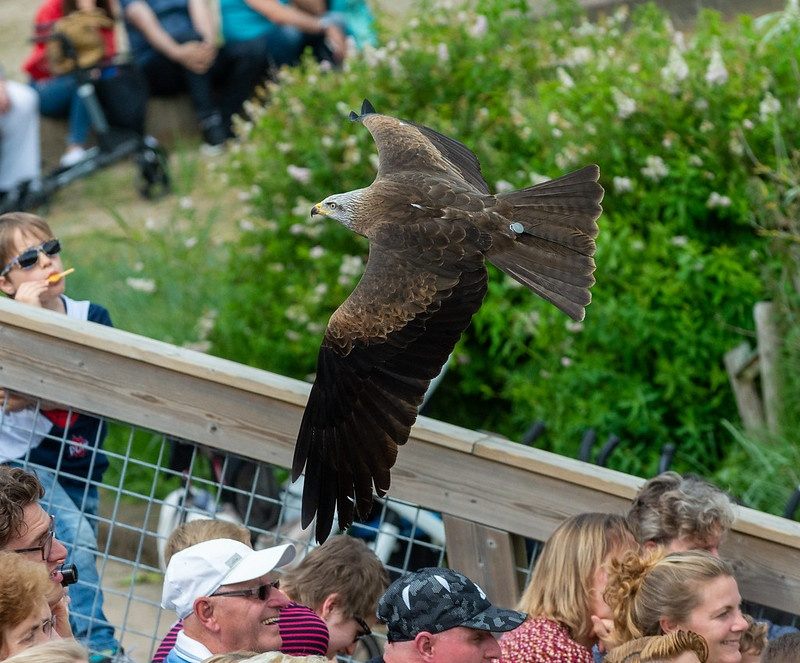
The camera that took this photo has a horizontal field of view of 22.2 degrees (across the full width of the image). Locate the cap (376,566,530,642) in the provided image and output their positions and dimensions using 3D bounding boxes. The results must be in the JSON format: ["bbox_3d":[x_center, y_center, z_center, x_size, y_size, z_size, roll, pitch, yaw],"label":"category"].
[{"bbox_3d":[0.219,1.217,9.491,0.567,0.216,0.326,-8,-7,7],"label":"cap"}]

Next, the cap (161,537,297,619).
[{"bbox_3d":[-0.898,1.099,9.691,0.493,0.181,0.297,-8,9,-22],"label":"cap"}]

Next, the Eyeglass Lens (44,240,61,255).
[{"bbox_3d":[-1.800,-0.431,10.607,0.082,0.031,0.080,-22,23,-31],"label":"Eyeglass Lens"}]

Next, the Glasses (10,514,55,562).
[{"bbox_3d":[-1.735,0.964,9.809,0.211,0.050,0.190,-9,19,0],"label":"Glasses"}]
